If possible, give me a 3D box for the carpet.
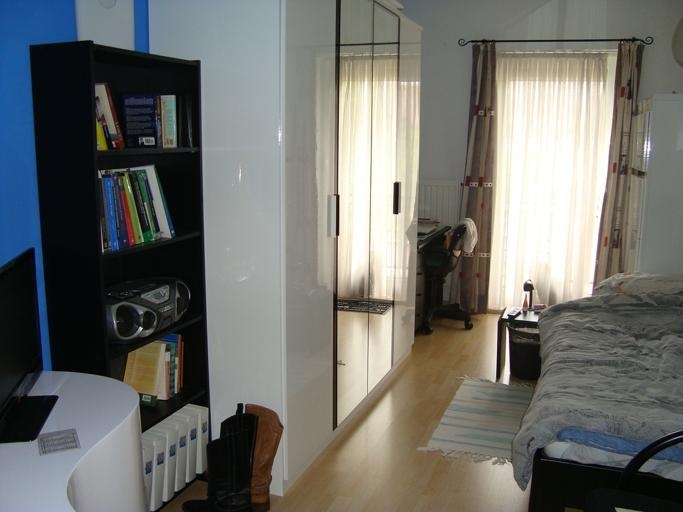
[{"bbox_3d":[0.907,1.030,3.489,0.492,0.034,1.081,8,15,27],"label":"carpet"}]

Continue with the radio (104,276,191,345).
[{"bbox_3d":[-0.897,0.251,2.502,0.157,0.206,0.493,-7,8,23],"label":"radio"}]

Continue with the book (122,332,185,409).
[{"bbox_3d":[-0.898,0.515,2.729,0.343,0.385,0.270,6,6,29],"label":"book"}]

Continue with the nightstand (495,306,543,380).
[{"bbox_3d":[1.325,0.643,4.161,0.338,0.509,0.388,3,11,16],"label":"nightstand"}]

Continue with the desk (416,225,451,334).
[{"bbox_3d":[0.801,0.214,5.050,0.326,0.905,0.445,2,12,4],"label":"desk"}]

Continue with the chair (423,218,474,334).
[{"bbox_3d":[0.970,0.151,5.191,0.515,1.013,0.527,4,8,24],"label":"chair"}]
